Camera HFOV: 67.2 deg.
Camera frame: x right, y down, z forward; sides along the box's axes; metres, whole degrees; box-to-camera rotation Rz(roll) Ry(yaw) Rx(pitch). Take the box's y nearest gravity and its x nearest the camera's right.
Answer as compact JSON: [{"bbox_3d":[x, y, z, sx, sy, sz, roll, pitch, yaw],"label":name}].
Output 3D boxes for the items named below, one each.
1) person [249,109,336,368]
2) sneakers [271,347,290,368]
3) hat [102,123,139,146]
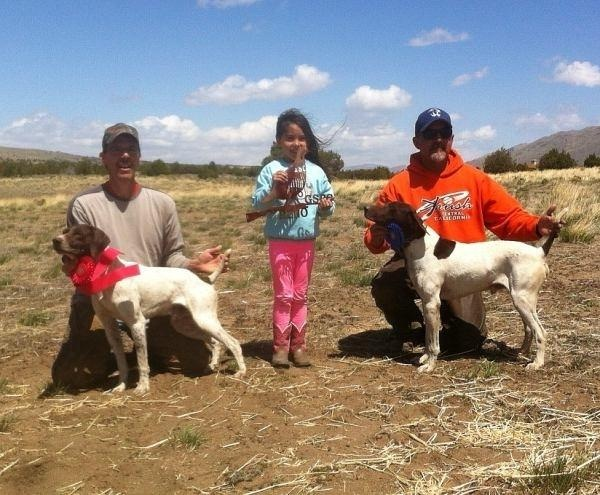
[{"bbox_3d":[-0.067,-0.133,5.573,0.997,3.079,0.723,-8,10,-20],"label":"person"},{"bbox_3d":[-0.247,1.329,5.486,0.202,0.219,0.182,-4,9,0],"label":"sneakers"},{"bbox_3d":[-2.034,-1.264,5.046,0.368,0.252,0.295,-7,9,-22],"label":"hat"}]
